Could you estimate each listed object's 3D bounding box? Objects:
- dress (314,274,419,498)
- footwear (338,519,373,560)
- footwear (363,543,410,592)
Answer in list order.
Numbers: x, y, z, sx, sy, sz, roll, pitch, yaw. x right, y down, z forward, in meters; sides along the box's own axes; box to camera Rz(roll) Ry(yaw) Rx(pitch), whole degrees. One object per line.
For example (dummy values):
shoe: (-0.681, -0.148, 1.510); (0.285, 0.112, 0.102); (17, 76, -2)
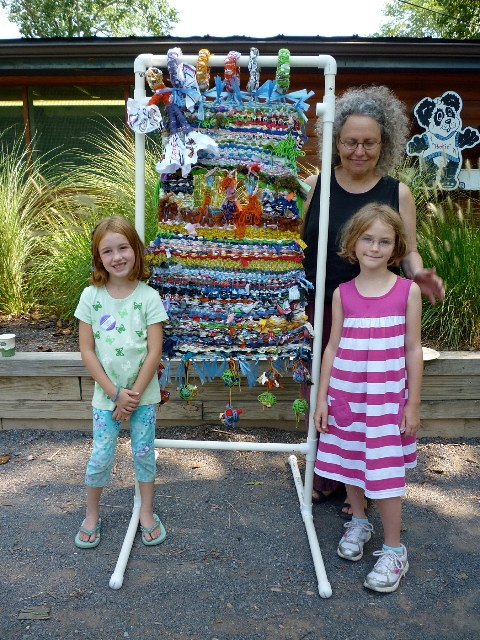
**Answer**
dress: (0.469, 0.226, 2.040); (0.228, 0.747, 0.390); (-10, 19, -36)
footwear: (0.426, 0.816, 2.159); (0.085, 0.078, 0.184); (7, 3, 18)
footwear: (0.520, 0.858, 2.014); (0.100, 0.092, 0.237); (8, 13, 42)
